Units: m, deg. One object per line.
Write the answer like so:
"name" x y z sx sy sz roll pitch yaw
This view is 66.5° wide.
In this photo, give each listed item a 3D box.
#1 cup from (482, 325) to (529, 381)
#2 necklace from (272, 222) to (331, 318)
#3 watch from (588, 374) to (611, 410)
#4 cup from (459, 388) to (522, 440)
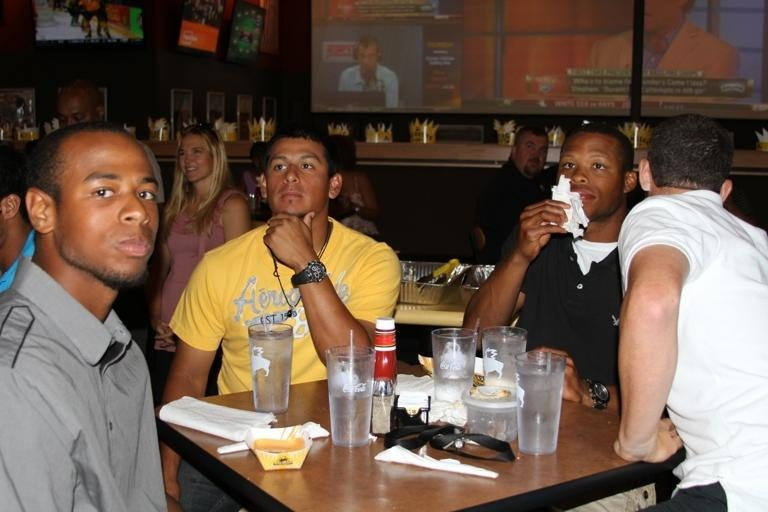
"cup" 0.330 0.293 1.757 0.153 0.161 0.153 0 -1 0
"necklace" -0.311 0.062 2.127 0.190 0.276 0.068 -4 26 -4
"watch" 0.730 0.471 1.996 0.070 0.092 0.100 0 15 -2
"cup" 0.292 0.430 1.641 0.154 0.101 0.143 0 -1 0
